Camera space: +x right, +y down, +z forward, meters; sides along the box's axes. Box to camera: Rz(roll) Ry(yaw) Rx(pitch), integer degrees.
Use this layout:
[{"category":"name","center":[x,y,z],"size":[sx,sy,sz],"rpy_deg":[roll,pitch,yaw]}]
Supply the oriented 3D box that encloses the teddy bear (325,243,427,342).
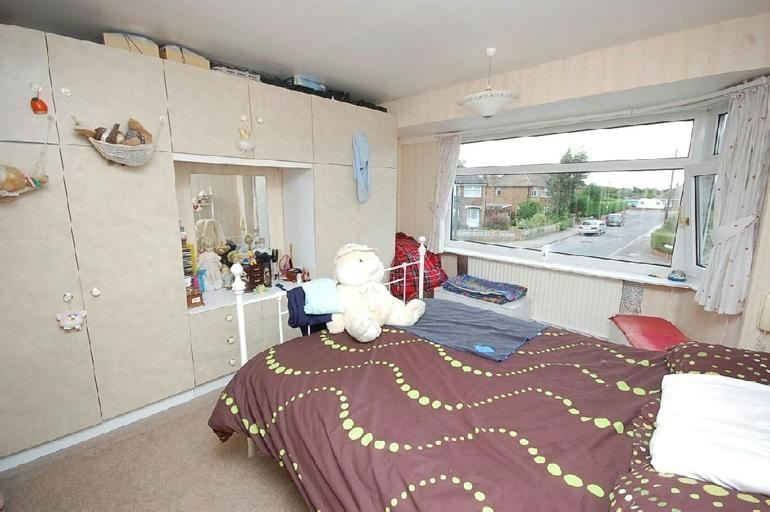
[{"category":"teddy bear","center":[-0.132,0.263,3.993],"size":[0.851,0.715,0.688],"rpy_deg":[-10,14,-30]}]

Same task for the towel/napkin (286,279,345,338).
[{"category":"towel/napkin","center":[-0.544,0.409,3.786],"size":[0.457,0.424,0.155],"rpy_deg":[-7,-19,-12]}]

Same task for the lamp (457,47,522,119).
[{"category":"lamp","center":[0.891,-1.475,4.082],"size":[0.547,0.572,0.510],"rpy_deg":[-5,6,-41]}]

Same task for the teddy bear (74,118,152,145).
[{"category":"teddy bear","center":[-2.007,-0.921,3.624],"size":[0.373,0.133,0.212],"rpy_deg":[-2,25,-35]}]
